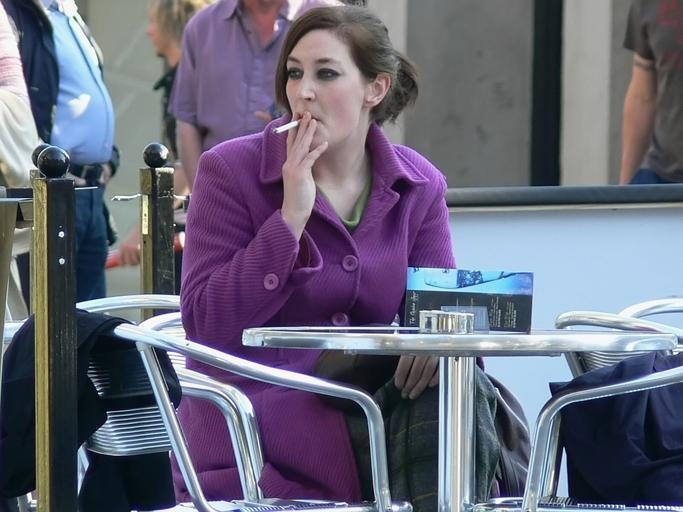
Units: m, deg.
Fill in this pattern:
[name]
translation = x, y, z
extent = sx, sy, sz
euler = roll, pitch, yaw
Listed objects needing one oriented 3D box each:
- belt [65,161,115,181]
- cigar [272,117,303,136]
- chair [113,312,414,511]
[belt]
translation = -0.969, -0.327, 8.659
extent = 0.130, 0.069, 0.176
euler = -1, -3, -13
[cigar]
translation = -0.183, -0.421, 7.414
extent = 0.032, 0.033, 0.190
euler = 27, -23, -24
[chair]
translation = -0.225, 0.409, 6.988
extent = 0.605, 0.488, 0.647
euler = -3, -1, -22
